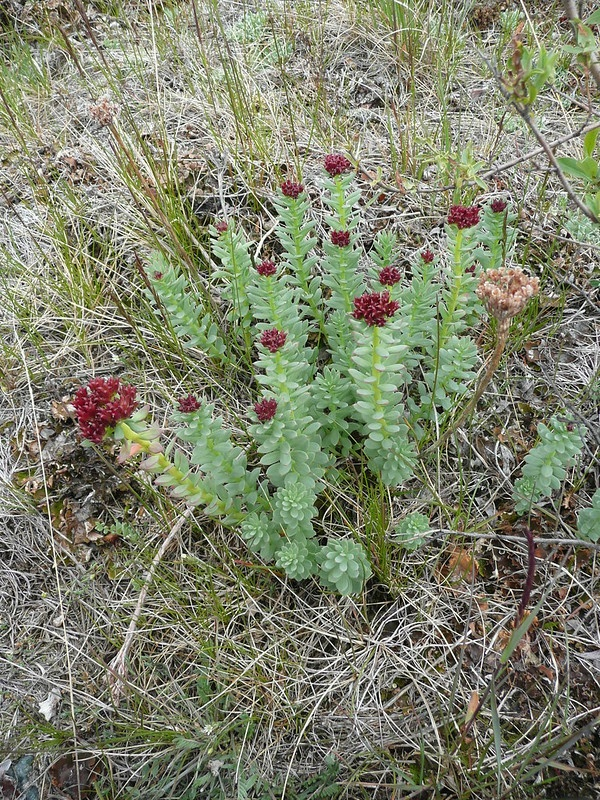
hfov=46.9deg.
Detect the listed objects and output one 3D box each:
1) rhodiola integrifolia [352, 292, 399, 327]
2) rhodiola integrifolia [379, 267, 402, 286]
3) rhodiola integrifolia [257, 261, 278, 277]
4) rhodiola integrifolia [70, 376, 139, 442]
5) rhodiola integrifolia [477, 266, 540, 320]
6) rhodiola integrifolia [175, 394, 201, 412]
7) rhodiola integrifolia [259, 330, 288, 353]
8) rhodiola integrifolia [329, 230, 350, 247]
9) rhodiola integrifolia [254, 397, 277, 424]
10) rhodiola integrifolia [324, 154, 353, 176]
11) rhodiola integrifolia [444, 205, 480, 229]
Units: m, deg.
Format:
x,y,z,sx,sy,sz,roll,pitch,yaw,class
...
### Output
x,y,z,sx,sy,sz,roll,pitch,yaw,class
0.285,-0.336,2.649,0.153,0.091,0.144,-23,33,-9,rhodiola integrifolia
0.365,-0.518,2.857,0.090,0.088,0.080,-1,64,18,rhodiola integrifolia
-0.136,-0.553,2.926,0.084,0.063,0.076,-4,38,6,rhodiola integrifolia
-0.699,0.000,2.487,0.186,0.205,0.295,-14,52,4,rhodiola integrifolia
0.710,-0.389,2.468,0.232,0.213,0.215,-3,37,9,rhodiola integrifolia
-0.450,0.023,2.734,0.084,0.040,0.077,-17,-1,25,rhodiola integrifolia
-0.113,-0.238,2.798,0.095,0.065,0.101,-23,36,-24,rhodiola integrifolia
0.176,-0.702,3.002,0.072,0.053,0.079,19,29,36,rhodiola integrifolia
-0.139,0.042,2.813,0.091,0.078,0.095,8,41,34,rhodiola integrifolia
0.170,-1.005,2.969,0.108,0.087,0.108,-4,19,3,rhodiola integrifolia
0.692,-0.766,2.925,0.111,0.125,0.071,-8,47,4,rhodiola integrifolia
